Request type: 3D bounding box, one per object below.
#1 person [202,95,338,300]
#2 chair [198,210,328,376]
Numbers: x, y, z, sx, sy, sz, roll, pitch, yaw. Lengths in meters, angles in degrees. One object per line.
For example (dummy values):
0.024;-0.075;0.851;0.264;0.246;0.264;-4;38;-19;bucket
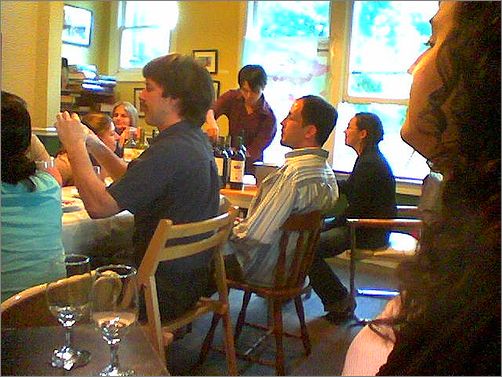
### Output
0.092;0.050;1.856;0.513;0.928;0.570;-3;17;-44;person
0.163;0.409;2.044;0.613;0.860;0.573;2;1;25;chair
